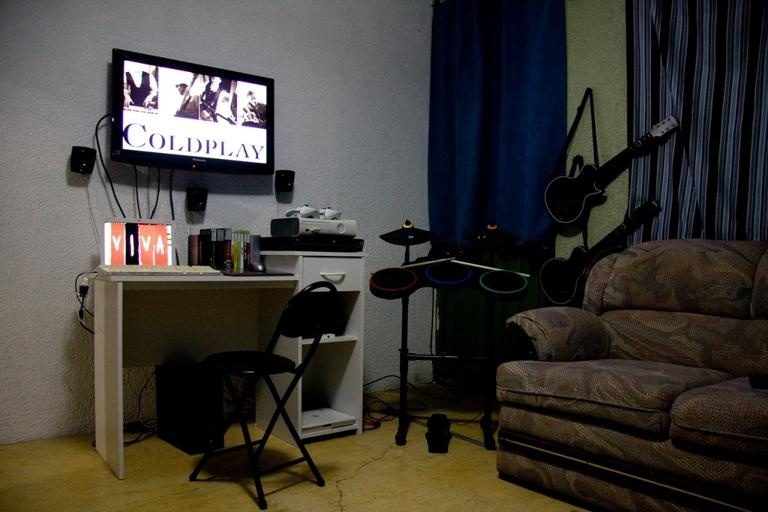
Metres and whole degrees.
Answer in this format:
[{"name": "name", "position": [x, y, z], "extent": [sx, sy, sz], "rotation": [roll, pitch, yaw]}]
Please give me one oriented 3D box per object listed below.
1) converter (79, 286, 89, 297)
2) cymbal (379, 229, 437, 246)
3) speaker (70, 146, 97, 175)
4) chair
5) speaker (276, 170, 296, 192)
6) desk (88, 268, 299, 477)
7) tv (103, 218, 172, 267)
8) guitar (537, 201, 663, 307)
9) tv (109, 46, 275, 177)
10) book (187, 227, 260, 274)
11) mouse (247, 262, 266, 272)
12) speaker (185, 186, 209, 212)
[{"name": "converter", "position": [-1.839, 0.213, 3.955], "extent": [0.051, 0.074, 0.065], "rotation": [-5, 6, -29]}, {"name": "cymbal", "position": [0.152, -0.129, 4.209], "extent": [0.191, 0.047, 0.185], "rotation": [4, 17, 19]}, {"name": "speaker", "position": [-1.849, -0.590, 3.958], "extent": [0.162, 0.176, 0.072], "rotation": [-4, 6, -24]}, {"name": "chair", "position": [-0.700, 0.702, 3.623], "extent": [0.821, 1.146, 0.762], "rotation": [-4, 6, -25]}, {"name": "speaker", "position": [-0.694, -0.532, 4.622], "extent": [0.151, 0.200, 0.149], "rotation": [7, 0, -14]}, {"name": "desk", "position": [-1.166, 0.709, 3.829], "extent": [1.205, 1.118, 0.648], "rotation": [1, -1, -38]}, {"name": "tv", "position": [-1.509, -0.081, 3.897], "extent": [0.314, 0.214, 0.033], "rotation": [1, -7, -26]}, {"name": "guitar", "position": [1.462, -0.086, 4.313], "extent": [0.928, 0.411, 0.131], "rotation": [-41, 41, -12]}, {"name": "tv", "position": [-1.269, -0.919, 4.132], "extent": [0.967, 0.621, 0.073], "rotation": [1, 4, -29]}, {"name": "book", "position": [-1.011, -0.045, 4.092], "extent": [0.461, 0.261, 0.236], "rotation": [-3, 5, -11]}, {"name": "mouse", "position": [-0.804, 0.064, 3.972], "extent": [0.071, 0.054, 0.203], "rotation": [-6, 6, -39]}, {"name": "speaker", "position": [-1.243, -0.384, 4.248], "extent": [0.167, 0.219, 0.122], "rotation": [4, -1, -26]}]
